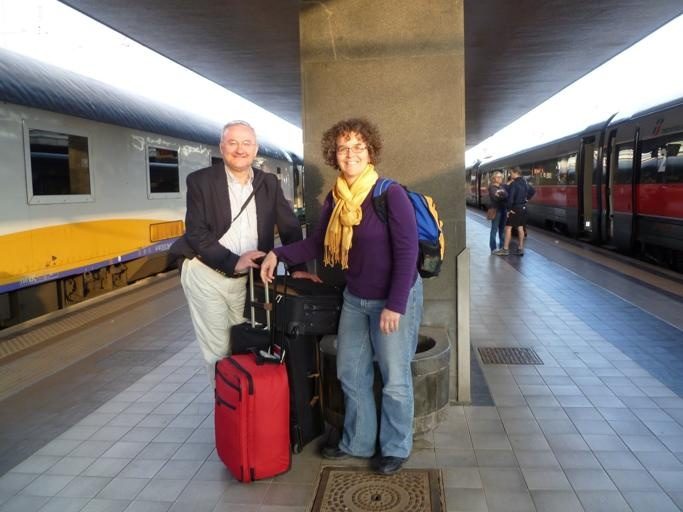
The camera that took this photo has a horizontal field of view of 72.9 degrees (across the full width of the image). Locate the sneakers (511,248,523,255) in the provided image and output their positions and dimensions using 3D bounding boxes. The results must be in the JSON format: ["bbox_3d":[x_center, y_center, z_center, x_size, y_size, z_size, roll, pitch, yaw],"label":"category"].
[{"bbox_3d":[4.641,-0.085,12.308,0.153,0.190,0.468,1,8,8],"label":"sneakers"}]

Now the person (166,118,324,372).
[{"bbox_3d":[-0.823,0.197,3.875,1.267,2.385,0.957,6,18,5],"label":"person"}]

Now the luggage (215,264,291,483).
[{"bbox_3d":[-0.653,0.891,3.363,0.502,1.461,0.502,-8,12,-35],"label":"luggage"}]

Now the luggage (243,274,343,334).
[{"bbox_3d":[-0.389,0.370,3.686,0.751,0.371,0.620,6,1,36],"label":"luggage"}]

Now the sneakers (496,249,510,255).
[{"bbox_3d":[4.223,-0.080,12.194,0.357,0.166,0.147,0,0,1],"label":"sneakers"}]

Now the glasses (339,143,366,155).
[{"bbox_3d":[0.074,-0.744,3.247,0.198,0.075,0.039,-1,10,1],"label":"glasses"}]

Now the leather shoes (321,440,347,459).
[{"bbox_3d":[-0.072,1.498,3.603,0.175,0.080,0.106,6,-4,1],"label":"leather shoes"}]
